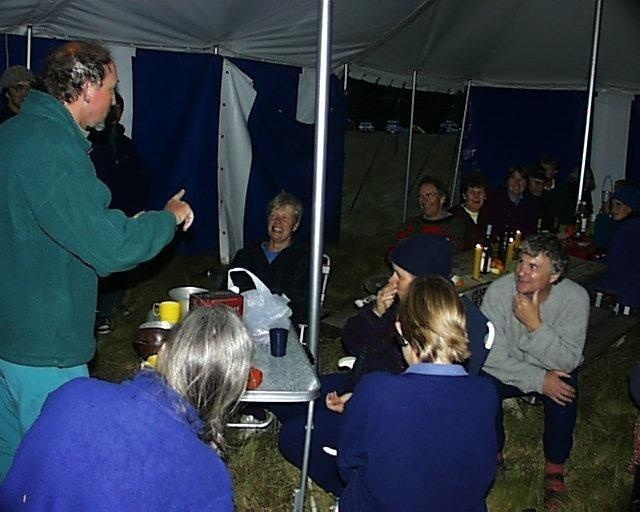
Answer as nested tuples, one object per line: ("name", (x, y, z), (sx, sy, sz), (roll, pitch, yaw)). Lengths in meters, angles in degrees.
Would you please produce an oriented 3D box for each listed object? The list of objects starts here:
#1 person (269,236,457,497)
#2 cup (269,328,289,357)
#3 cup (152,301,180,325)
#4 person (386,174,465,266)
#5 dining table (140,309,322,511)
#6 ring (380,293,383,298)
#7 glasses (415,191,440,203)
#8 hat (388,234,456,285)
("person", (0.184, 0.629, 2.959), (0.732, 1.467, 0.566), (14, -6, 8))
("cup", (-0.203, 0.404, 2.507), (0.106, 0.130, 0.110), (0, -1, 0))
("cup", (-0.777, 0.269, 2.664), (0.159, 0.135, 0.128), (1, 4, -5))
("person", (1.065, -0.374, 5.208), (0.803, 0.873, 0.522), (3, 13, 27))
("dining table", (-0.411, 0.876, 2.818), (0.768, 0.983, 0.999), (1, 22, -3))
("ring", (0.343, 0.220, 2.957), (0.011, 0.012, 0.010), (-15, 25, -38))
("glasses", (1.047, -0.578, 5.142), (0.142, 0.127, 0.121), (20, 3, -18))
("hat", (0.557, -0.019, 3.017), (0.384, 0.263, 0.299), (0, 2, 28))
